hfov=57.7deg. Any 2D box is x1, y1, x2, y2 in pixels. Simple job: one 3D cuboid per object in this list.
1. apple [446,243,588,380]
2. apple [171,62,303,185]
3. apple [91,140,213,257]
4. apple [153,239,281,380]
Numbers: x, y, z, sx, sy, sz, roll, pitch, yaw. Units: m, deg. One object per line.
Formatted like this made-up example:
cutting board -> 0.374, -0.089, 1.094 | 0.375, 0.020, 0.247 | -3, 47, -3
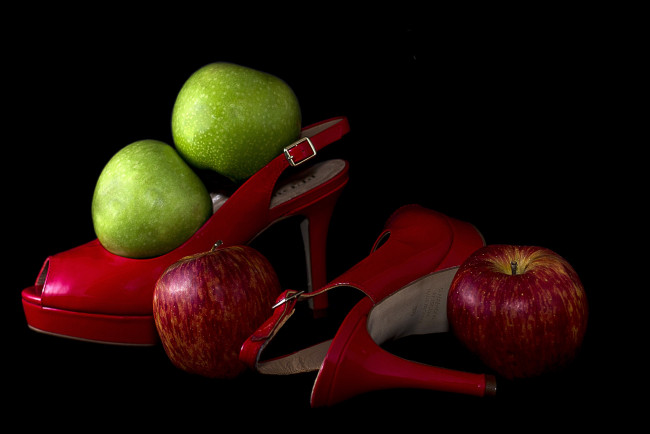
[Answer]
apple -> 0.562, 0.298, 1.711 | 0.359, 0.397, 0.384 | 0, 22, 27
apple -> -0.289, -0.290, 2.047 | 0.407, 0.444, 0.451 | 9, 2, -14
apple -> -0.534, -0.045, 1.805 | 0.298, 0.264, 0.299 | 27, 41, 28
apple -> -0.322, 0.290, 1.759 | 0.356, 0.378, 0.366 | -14, -10, 34
